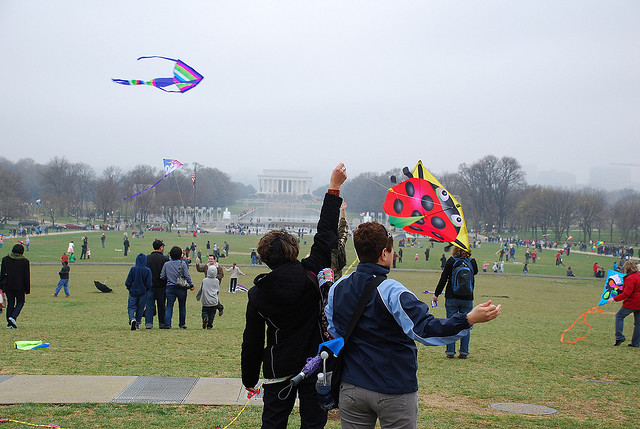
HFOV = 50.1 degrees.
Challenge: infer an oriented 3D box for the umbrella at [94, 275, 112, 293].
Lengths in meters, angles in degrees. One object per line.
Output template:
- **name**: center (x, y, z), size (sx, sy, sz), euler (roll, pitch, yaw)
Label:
- **umbrella**: center (-9.141, 3.027, 28.617), size (0.633, 0.454, 0.686), euler (2, -2, -21)

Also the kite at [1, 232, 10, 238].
- **kite**: center (-32.358, 2.110, 69.891), size (1.207, 0.532, 0.384), euler (9, 12, -1)

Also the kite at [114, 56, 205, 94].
- **kite**: center (-4.258, -3.507, 18.030), size (2.253, 0.353, 1.329), euler (-8, -14, -6)

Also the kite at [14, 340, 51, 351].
- **kite**: center (-7.611, 3.437, 17.980), size (0.858, 0.148, 0.538), euler (2, -2, -24)

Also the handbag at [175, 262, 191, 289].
- **handbag**: center (-4.126, 1.820, 20.460), size (0.484, 0.804, 0.190), euler (1, -2, -6)

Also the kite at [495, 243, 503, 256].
- **kite**: center (19.664, 3.817, 75.107), size (0.216, 1.506, 0.249), euler (41, 2, -31)

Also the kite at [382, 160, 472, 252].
- **kite**: center (2.594, -0.152, 16.848), size (2.692, 0.635, 2.036), euler (11, 32, 11)
